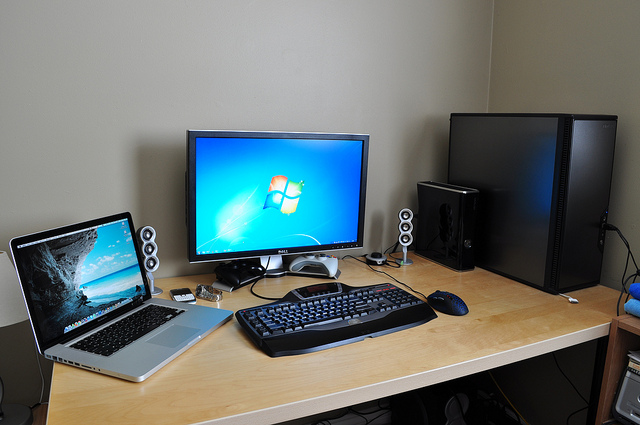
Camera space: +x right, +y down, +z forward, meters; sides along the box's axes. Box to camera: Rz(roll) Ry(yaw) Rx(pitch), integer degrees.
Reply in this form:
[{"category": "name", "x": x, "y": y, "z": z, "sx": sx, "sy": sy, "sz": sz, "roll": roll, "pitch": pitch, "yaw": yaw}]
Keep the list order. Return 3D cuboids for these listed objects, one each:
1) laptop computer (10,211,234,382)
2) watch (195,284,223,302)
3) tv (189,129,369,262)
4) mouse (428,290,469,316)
[{"category": "laptop computer", "x": -0.742, "y": 0.295, "z": 1.754, "sx": 0.648, "sy": 0.441, "sz": 0.602, "roll": 10, "pitch": 13, "yaw": 24}, {"category": "watch", "x": -0.455, "y": 0.328, "z": 1.973, "sx": 0.090, "sy": 0.032, "sz": 0.066, "roll": 13, "pitch": 14, "yaw": 32}, {"category": "tv", "x": -0.207, "y": -0.085, "z": 2.083, "sx": 0.652, "sy": 0.416, "sz": 0.065, "roll": 0, "pitch": 8, "yaw": -22}, {"category": "mouse", "x": 0.528, "y": 0.361, "z": 1.902, "sx": 0.089, "sy": 0.039, "sz": 0.122, "roll": -1, "pitch": 21, "yaw": -39}]
